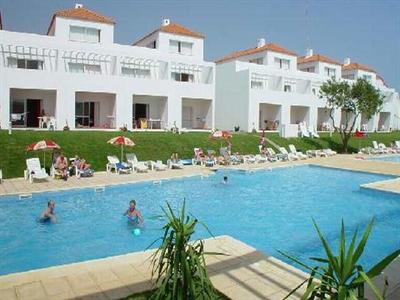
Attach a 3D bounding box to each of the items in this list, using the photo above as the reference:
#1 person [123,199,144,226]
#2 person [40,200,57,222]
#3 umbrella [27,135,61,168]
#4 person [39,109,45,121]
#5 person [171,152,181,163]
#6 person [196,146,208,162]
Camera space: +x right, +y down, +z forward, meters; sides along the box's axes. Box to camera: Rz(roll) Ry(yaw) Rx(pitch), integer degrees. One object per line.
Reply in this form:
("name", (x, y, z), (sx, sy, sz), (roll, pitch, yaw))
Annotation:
("person", (-2.645, 2.531, 13.170), (0.724, 1.520, 0.595), (1, 13, 8))
("person", (-5.761, 2.411, 12.523), (0.769, 0.907, 0.518), (-15, -16, 22))
("umbrella", (-9.091, 0.266, 19.171), (1.439, 1.601, 4.202), (-3, 3, -26))
("person", (-14.745, -3.272, 31.049), (0.551, 1.255, 2.746), (-2, 3, -25))
("person", (-1.658, 0.531, 23.027), (0.635, 0.800, 0.731), (2, -1, -14))
("person", (-0.001, 0.289, 24.764), (0.794, 1.000, 2.128), (2, 7, -12))
